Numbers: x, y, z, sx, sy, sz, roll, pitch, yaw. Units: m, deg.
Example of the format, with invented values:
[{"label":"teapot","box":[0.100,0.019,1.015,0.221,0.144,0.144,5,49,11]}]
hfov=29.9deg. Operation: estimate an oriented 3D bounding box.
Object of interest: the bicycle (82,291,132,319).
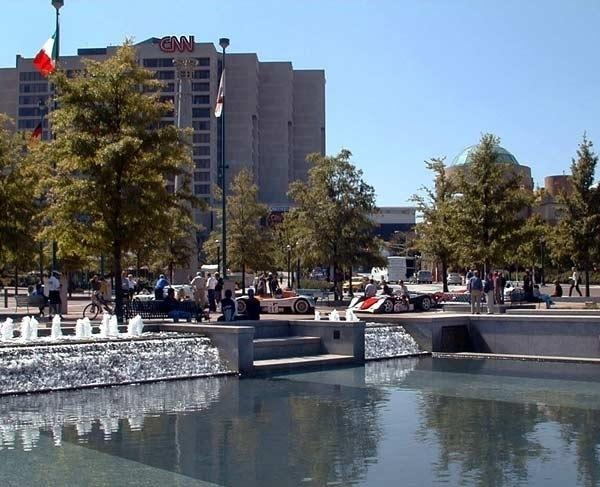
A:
[{"label":"bicycle","box":[-6.682,2.155,39.209,1.651,1.236,0.930,3,-1,-2]}]

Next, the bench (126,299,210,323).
[{"label":"bench","box":[-4.390,2.134,36.090,2.327,0.670,0.672,6,8,-14]}]

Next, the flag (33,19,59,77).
[{"label":"flag","box":[-9.420,-7.051,41.803,0.815,1.805,8.470,-1,8,-13]}]
